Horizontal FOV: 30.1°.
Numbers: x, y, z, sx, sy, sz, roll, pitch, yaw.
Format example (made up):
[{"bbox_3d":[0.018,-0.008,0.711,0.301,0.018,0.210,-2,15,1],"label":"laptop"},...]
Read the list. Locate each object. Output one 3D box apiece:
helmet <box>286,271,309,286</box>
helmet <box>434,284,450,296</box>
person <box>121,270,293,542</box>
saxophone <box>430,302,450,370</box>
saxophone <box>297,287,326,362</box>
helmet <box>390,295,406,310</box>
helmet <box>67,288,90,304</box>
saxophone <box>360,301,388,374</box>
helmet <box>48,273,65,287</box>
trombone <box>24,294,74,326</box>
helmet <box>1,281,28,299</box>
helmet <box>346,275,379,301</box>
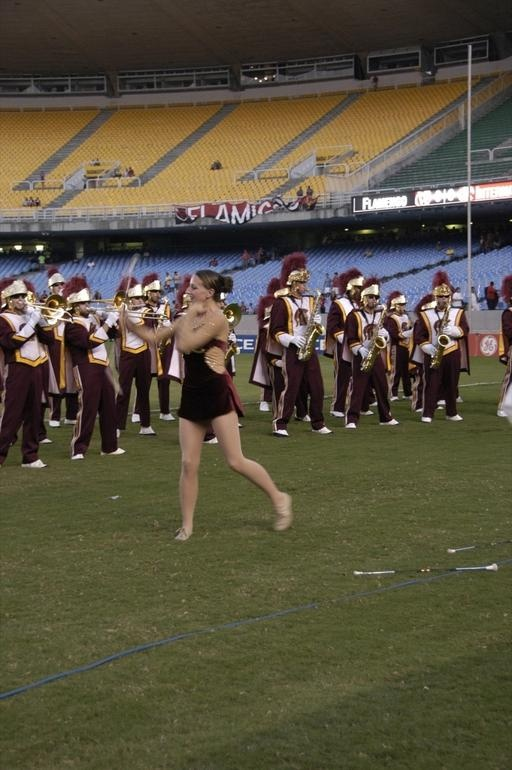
[{"bbox_3d":[0.457,-1.233,10.939,0.183,0.109,0.197,-5,-2,-37],"label":"helmet"},{"bbox_3d":[2.371,-1.220,12.319,0.152,0.120,0.206,3,-6,-8],"label":"helmet"},{"bbox_3d":[-0.348,0.148,5.832,1.050,1.682,0.434,-6,7,-43],"label":"person"},{"bbox_3d":[2.360,-0.633,12.203,0.206,0.204,0.868,15,51,14],"label":"saxophone"},{"bbox_3d":[0.623,-0.693,10.812,0.386,0.838,0.222,2,8,41],"label":"saxophone"},{"bbox_3d":[2.299,-1.377,15.733,0.247,0.211,0.366,0,5,6],"label":"helmet"},{"bbox_3d":[-1.781,-0.899,9.576,0.222,0.125,0.149,-6,2,19],"label":"helmet"},{"bbox_3d":[1.575,-0.558,11.754,0.283,1.098,0.409,15,42,16],"label":"saxophone"},{"bbox_3d":[-2.489,-1.323,11.898,0.210,0.151,0.269,1,0,-25],"label":"helmet"},{"bbox_3d":[-2.004,-0.731,9.365,0.582,0.290,0.290,12,-14,40],"label":"trombone"},{"bbox_3d":[-2.171,-0.862,8.641,0.187,0.106,0.238,-3,-2,-27],"label":"helmet"},{"bbox_3d":[1.339,-1.240,12.034,0.413,0.256,0.292,-1,2,42],"label":"helmet"}]
